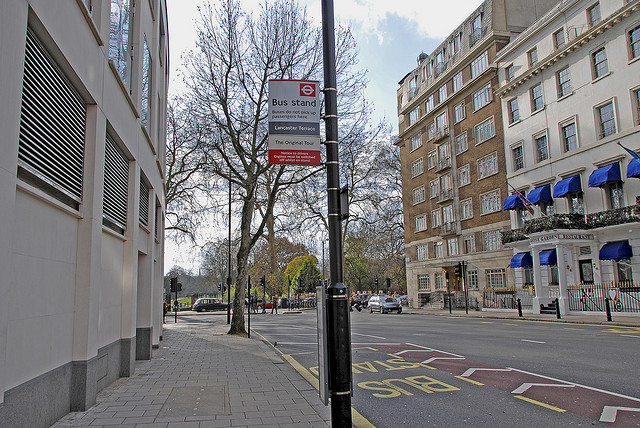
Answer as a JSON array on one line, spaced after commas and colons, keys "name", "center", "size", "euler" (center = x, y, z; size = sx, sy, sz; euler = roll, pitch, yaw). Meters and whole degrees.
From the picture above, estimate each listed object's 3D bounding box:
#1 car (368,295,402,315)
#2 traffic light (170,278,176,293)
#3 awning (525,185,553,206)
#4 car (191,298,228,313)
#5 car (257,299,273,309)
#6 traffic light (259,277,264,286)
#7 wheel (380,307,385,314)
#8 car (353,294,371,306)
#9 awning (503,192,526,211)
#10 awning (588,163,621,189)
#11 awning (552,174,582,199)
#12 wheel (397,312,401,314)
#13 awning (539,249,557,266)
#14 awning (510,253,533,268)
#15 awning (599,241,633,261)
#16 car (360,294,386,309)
[{"name": "car", "center": [5.887, 8.329, 43.305], "size": [1.405, 1.126, 3.145], "euler": [4, -19, -16]}, {"name": "traffic light", "center": [-10.486, 4.994, 33.561], "size": [0.416, 0.877, 1.562], "euler": [4, -15, -17]}, {"name": "awning", "center": [16.189, -1.215, 34.405], "size": [1.401, 1.691, 1.769], "euler": [14, -11, -11]}, {"name": "car", "center": [-12.358, 10.152, 52.523], "size": [3.312, 1.631, 2.020], "euler": [3, -15, -12]}, {"name": "car", "center": [-6.953, 11.435, 59.352], "size": [1.793, 1.097, 1.225], "euler": [-1, -4, -2]}, {"name": "traffic light", "center": [-4.926, 5.710, 39.919], "size": [0.534, 1.204, 0.652], "euler": [2, -4, -14]}, {"name": "wheel", "center": [5.610, 8.659, 42.359], "size": [0.182, 0.583, 0.553], "euler": [2, -19, -11]}, {"name": "car", "center": [4.947, 10.254, 55.875], "size": [1.683, 1.544, 2.946], "euler": [-1, -17, -1]}, {"name": "awning", "center": [14.876, -1.029, 36.265], "size": [1.223, 0.914, 1.258], "euler": [-2, 3, 35]}, {"name": "awning", "center": [17.791, -2.477, 29.735], "size": [0.863, 1.428, 1.399], "euler": [9, -13, -17]}, {"name": "awning", "center": [16.867, -1.579, 32.012], "size": [1.039, 1.658, 1.928], "euler": [13, -10, -11]}, {"name": "wheel", "center": [6.955, 8.703, 41.475], "size": [0.315, 0.151, 0.709], "euler": [-2, -15, 6]}, {"name": "awning", "center": [16.018, 3.073, 33.217], "size": [0.998, 0.754, 1.001], "euler": [18, -19, -37]}, {"name": "awning", "center": [15.585, 3.590, 35.988], "size": [1.056, 0.825, 1.114], "euler": [-3, -2, -28]}, {"name": "awning", "center": [18.178, 2.193, 29.067], "size": [0.852, 1.159, 1.752], "euler": [4, -15, -19]}, {"name": "car", "center": [5.866, 10.496, 57.053], "size": [1.476, 1.499, 2.583], "euler": [8, -21, -37]}]
